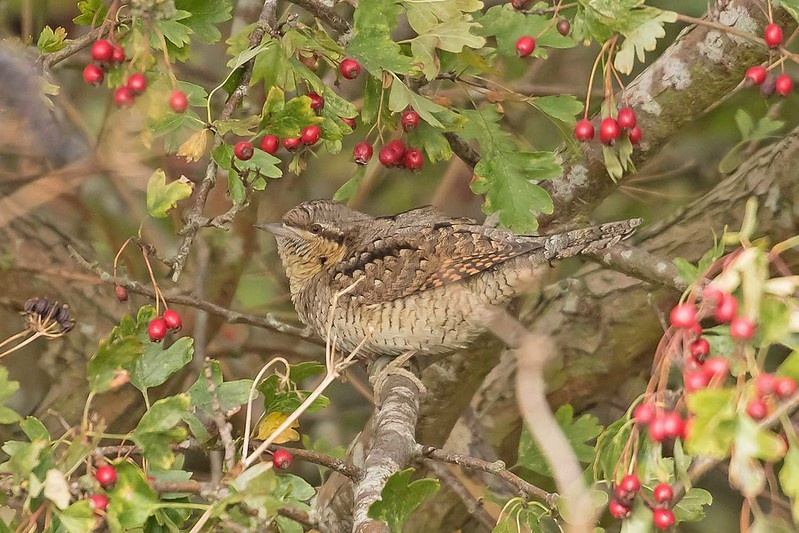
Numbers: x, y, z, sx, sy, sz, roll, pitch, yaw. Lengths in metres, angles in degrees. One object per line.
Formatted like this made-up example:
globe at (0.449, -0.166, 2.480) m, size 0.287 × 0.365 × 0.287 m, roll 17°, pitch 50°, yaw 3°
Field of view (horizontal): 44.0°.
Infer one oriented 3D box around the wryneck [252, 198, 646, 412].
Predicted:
wryneck at (0.175, 0.082, 4.597) m, size 1.674 × 1.032 × 0.574 m, roll -9°, pitch -11°, yaw 12°
